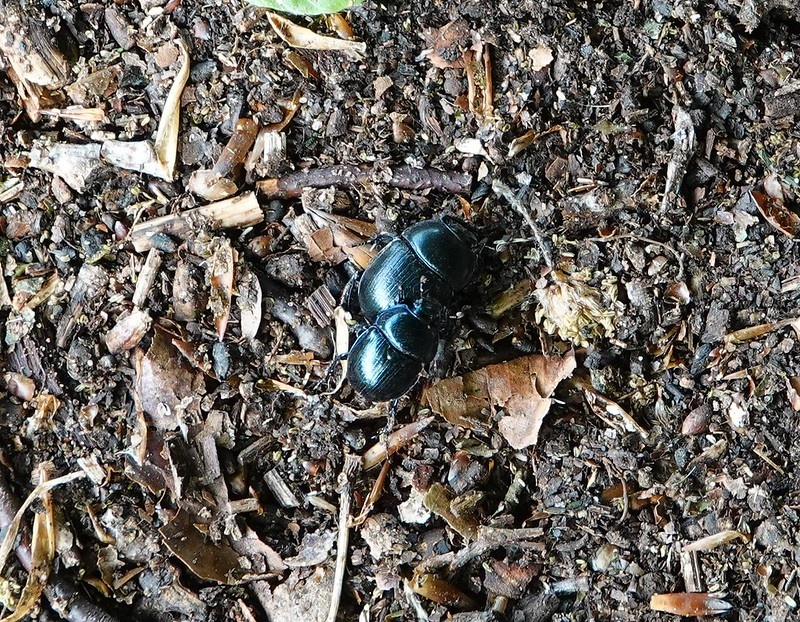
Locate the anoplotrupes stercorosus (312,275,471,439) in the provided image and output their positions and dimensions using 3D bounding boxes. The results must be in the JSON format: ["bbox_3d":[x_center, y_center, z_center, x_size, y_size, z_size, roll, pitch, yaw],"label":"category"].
[{"bbox_3d":[-0.004,0.108,2.107,0.250,0.103,0.348,38,90,-6],"label":"anoplotrupes stercorosus"}]
